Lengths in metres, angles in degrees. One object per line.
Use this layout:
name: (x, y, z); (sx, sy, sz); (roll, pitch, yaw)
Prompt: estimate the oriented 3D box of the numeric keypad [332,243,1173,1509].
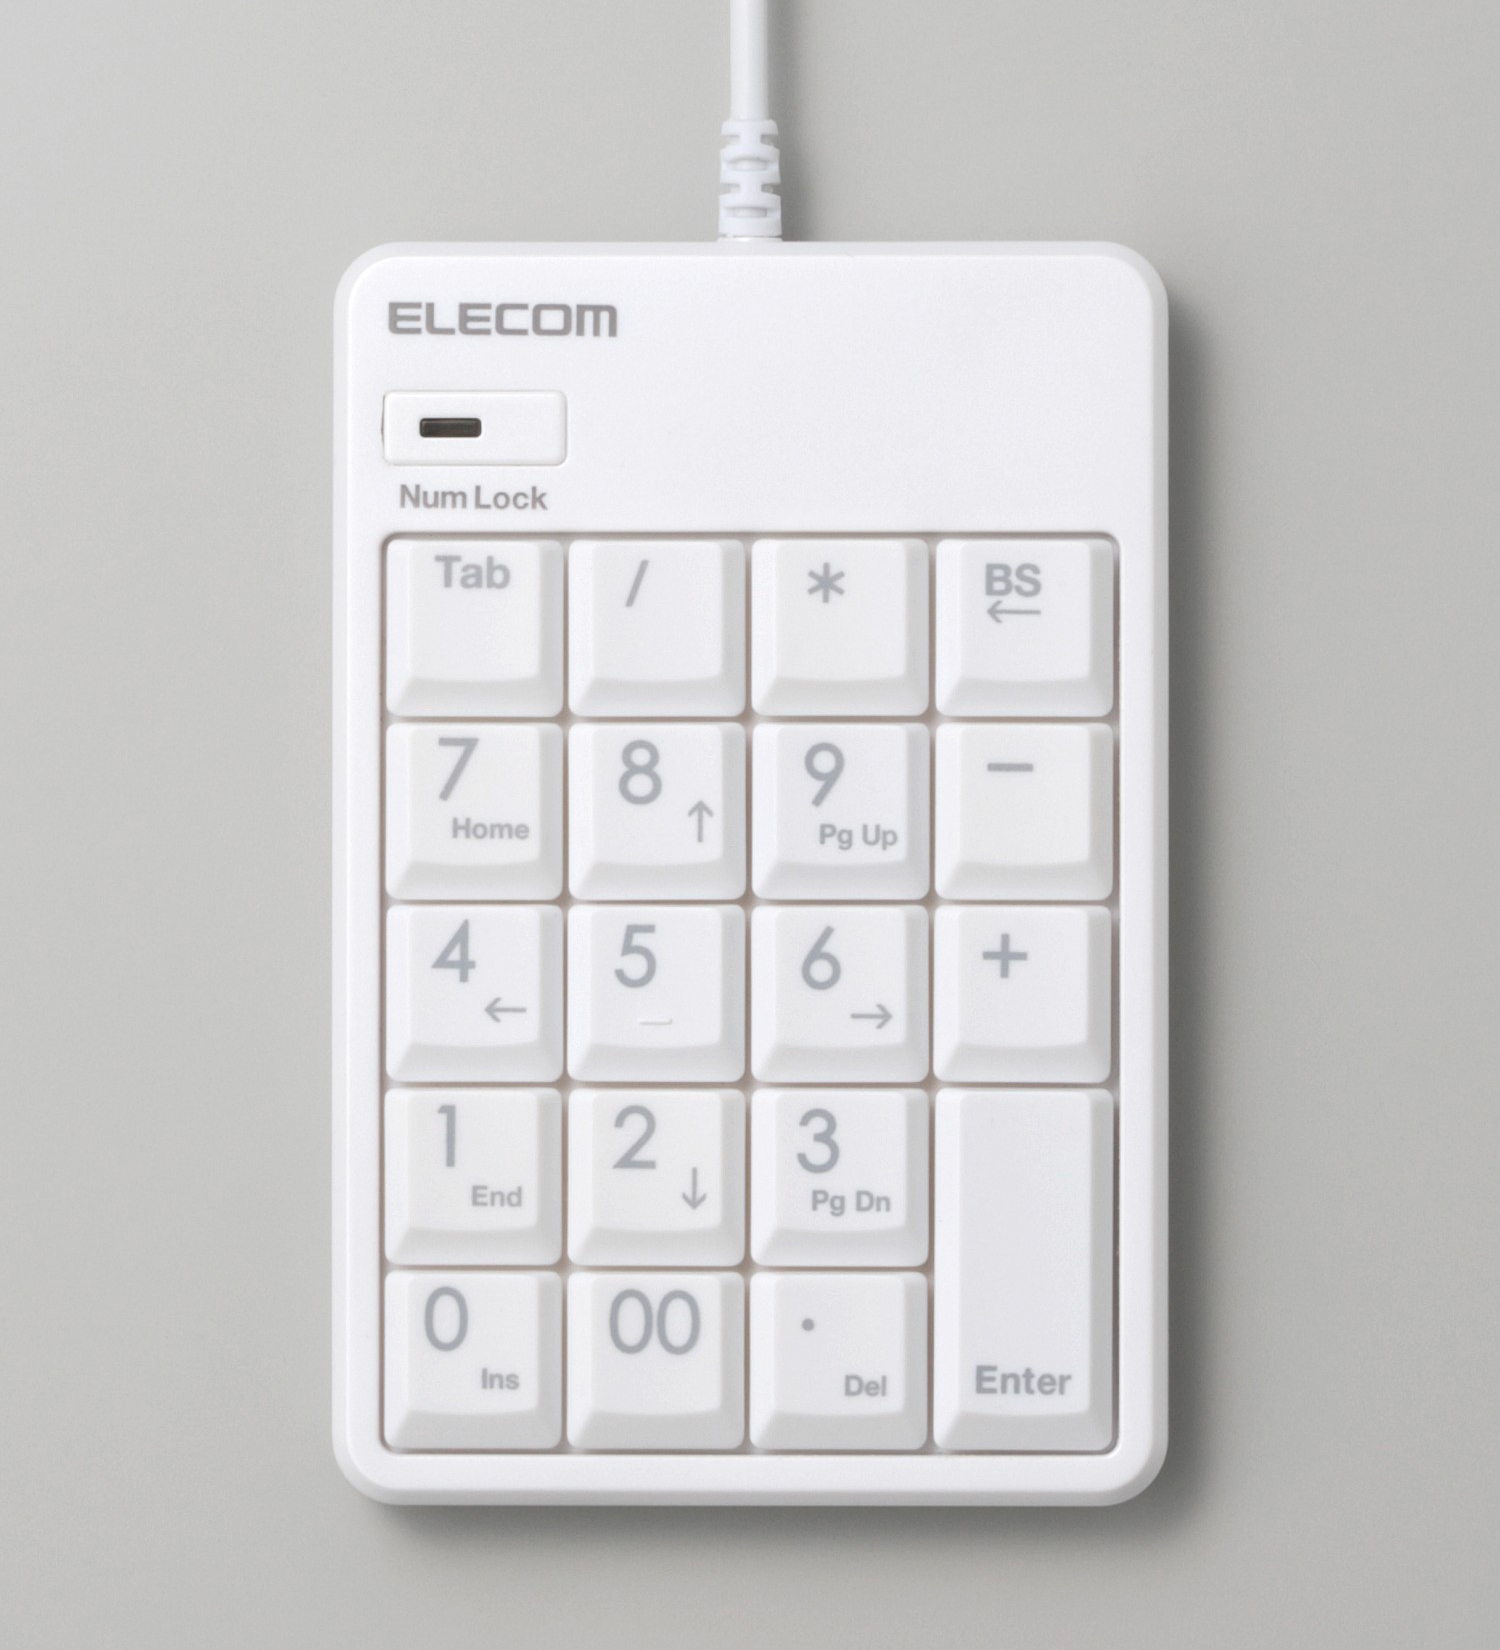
numeric keypad: (0.000, 0.010, 0.474); (0.174, 0.260, 0.092); (-1, 15, 9)
